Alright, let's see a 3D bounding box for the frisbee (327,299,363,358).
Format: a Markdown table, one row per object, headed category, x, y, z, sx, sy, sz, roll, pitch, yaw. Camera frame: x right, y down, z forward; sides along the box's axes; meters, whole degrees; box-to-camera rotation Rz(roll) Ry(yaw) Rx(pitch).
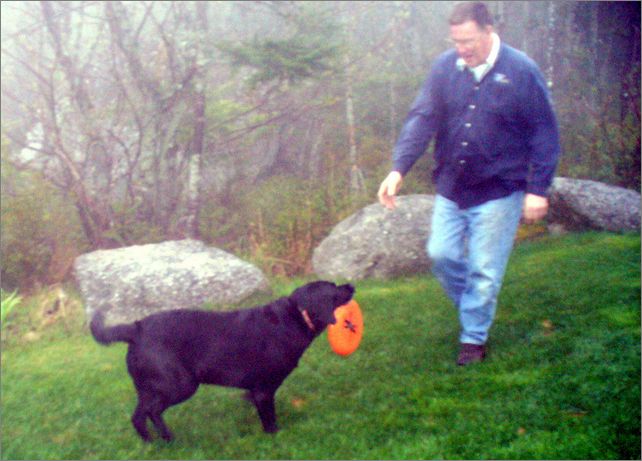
| category | x | y | z | sx | sy | sz | roll | pitch | yaw |
| --- | --- | --- | --- | --- | --- | --- | --- | --- | --- |
| frisbee | 0.296 | 1.088 | 6.758 | 0.137 | 0.616 | 0.428 | -5 | -24 | 39 |
